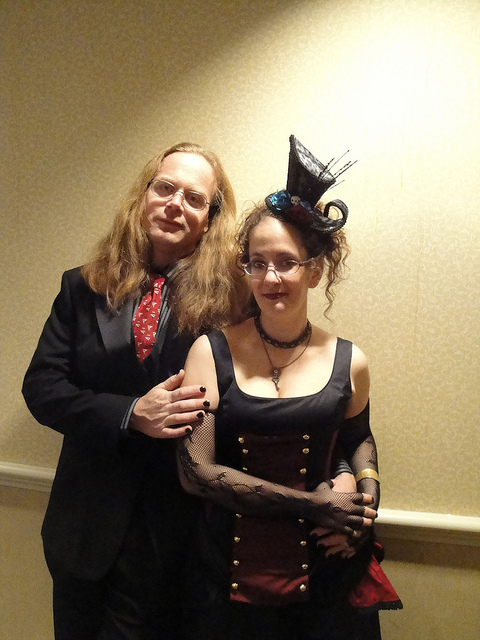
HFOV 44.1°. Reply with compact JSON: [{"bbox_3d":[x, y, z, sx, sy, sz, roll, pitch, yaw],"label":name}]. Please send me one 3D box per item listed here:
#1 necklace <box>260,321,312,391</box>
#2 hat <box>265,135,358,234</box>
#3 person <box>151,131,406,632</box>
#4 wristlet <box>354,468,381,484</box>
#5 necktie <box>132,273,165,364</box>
[{"bbox_3d":[0.100,0.103,1.457,0.097,0.108,0.106,-5,13,9],"label":"necklace"},{"bbox_3d":[0.171,-0.353,1.493,0.194,0.207,0.210,15,15,-27],"label":"hat"},{"bbox_3d":[0.015,0.188,1.487,0.636,1.205,0.485,-6,14,5],"label":"person"},{"bbox_3d":[0.324,0.394,1.502,0.042,0.020,0.040,2,-4,5],"label":"wristlet"},{"bbox_3d":[-0.253,-0.012,1.668,0.089,0.210,0.199,-7,13,2],"label":"necktie"}]
